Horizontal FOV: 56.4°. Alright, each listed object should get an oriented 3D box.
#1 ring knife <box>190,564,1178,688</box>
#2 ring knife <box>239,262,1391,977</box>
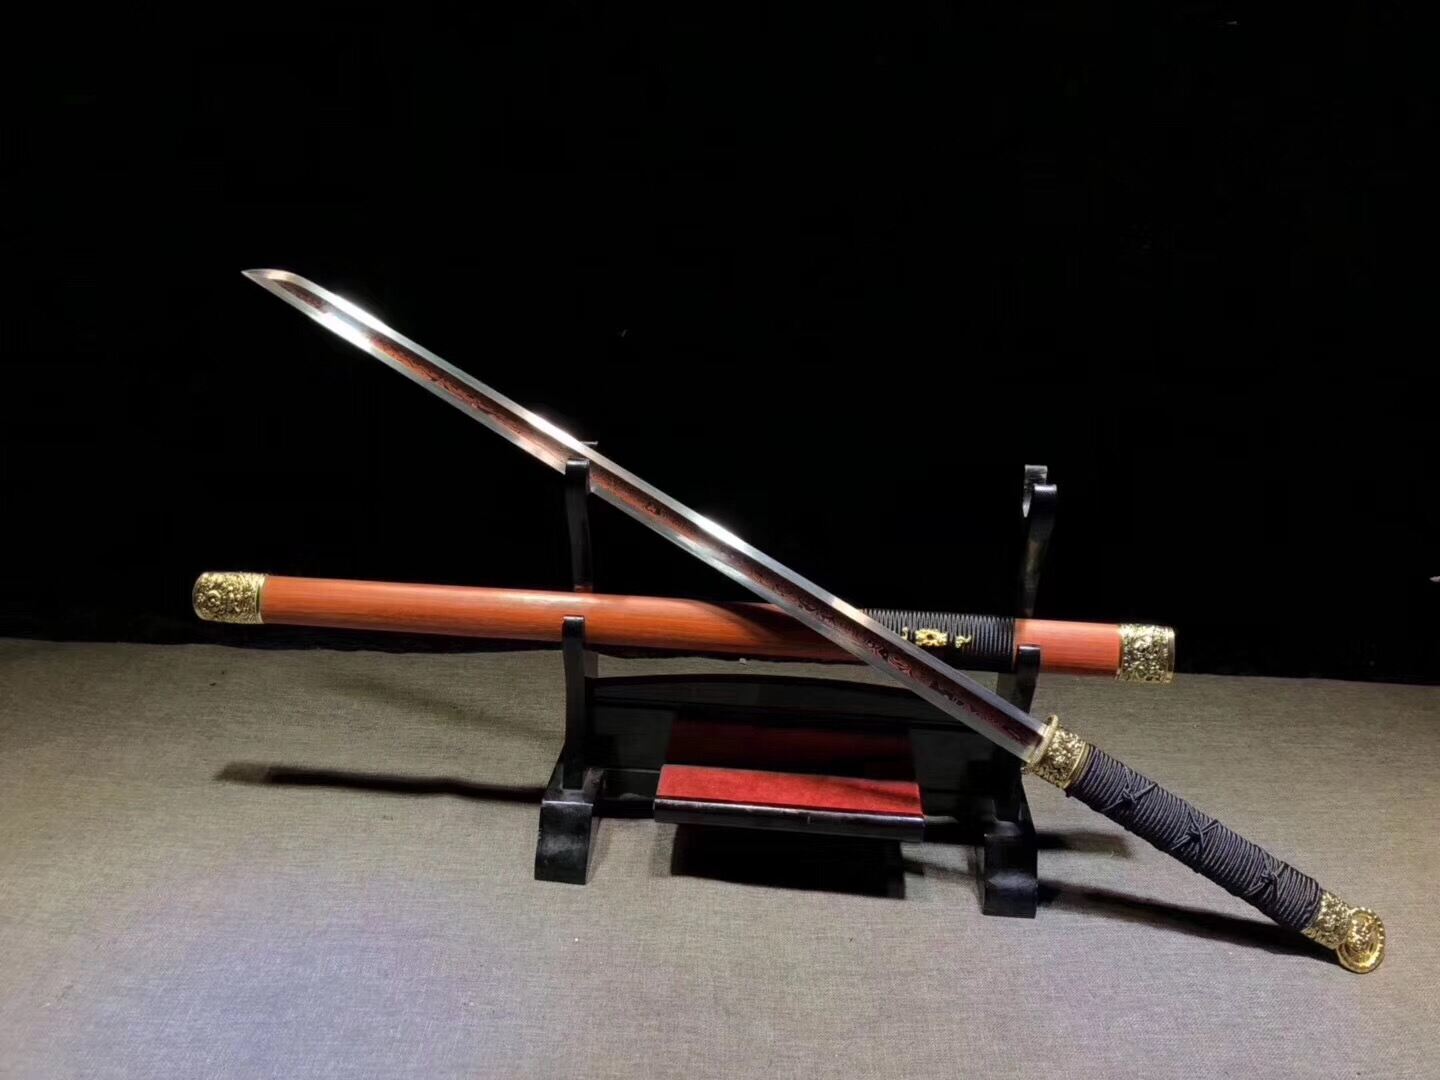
[{"bbox_3d":[-0.037,0.200,3.195,2.845,0.190,0.225,2,-2,6],"label":"ring knife"},{"bbox_3d":[0.282,0.162,3.149,2.896,0.183,0.217,28,30,3],"label":"ring knife"}]
